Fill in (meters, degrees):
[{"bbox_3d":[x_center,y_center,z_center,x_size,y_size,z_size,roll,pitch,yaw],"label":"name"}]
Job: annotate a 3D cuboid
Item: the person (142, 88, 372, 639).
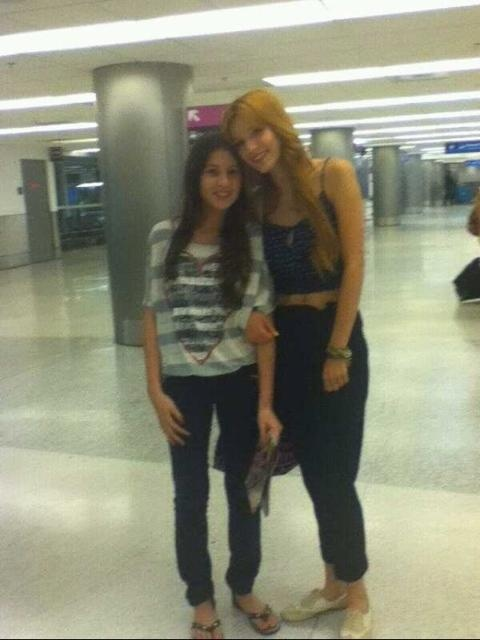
[{"bbox_3d":[0.292,0.153,1.954,0.332,1.818,0.497,-15,17,-39],"label":"person"}]
